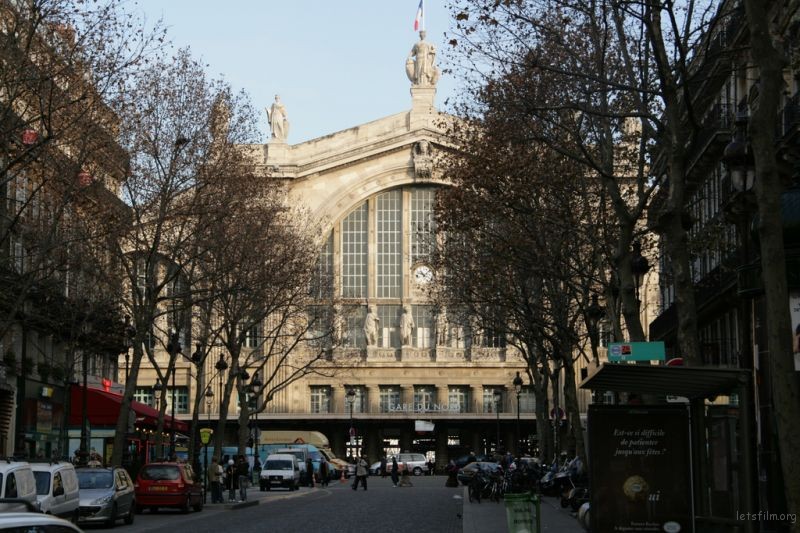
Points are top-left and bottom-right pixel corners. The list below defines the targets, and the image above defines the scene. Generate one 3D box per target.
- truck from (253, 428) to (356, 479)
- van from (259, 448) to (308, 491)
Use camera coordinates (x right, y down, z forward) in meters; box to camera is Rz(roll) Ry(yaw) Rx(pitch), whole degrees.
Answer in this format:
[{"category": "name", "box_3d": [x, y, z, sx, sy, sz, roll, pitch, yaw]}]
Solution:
[{"category": "truck", "box_3d": [-7.258, 13.609, 93.196, 7.561, 4.130, 3.265, -1, -5, 3]}, {"category": "van", "box_3d": [-6.571, 11.460, 72.796, 2.228, 2.509, 2.255, -6, -7, -2]}]
